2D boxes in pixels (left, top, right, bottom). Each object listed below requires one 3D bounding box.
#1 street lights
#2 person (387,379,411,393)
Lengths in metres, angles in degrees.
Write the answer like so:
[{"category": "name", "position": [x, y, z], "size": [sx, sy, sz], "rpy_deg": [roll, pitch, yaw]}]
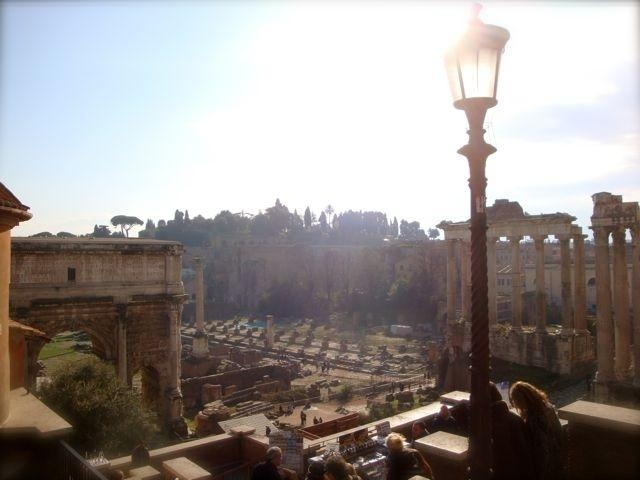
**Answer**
[{"category": "street lights", "position": [2.269, -0.030, 8.092], "size": [0.781, 6.682, 0.333], "rpy_deg": [-2, -4, 13]}, {"category": "person", "position": [4.212, 7.722, 30.283], "size": [0.840, 0.449, 1.194], "rpy_deg": [-2, -9, 5]}]
